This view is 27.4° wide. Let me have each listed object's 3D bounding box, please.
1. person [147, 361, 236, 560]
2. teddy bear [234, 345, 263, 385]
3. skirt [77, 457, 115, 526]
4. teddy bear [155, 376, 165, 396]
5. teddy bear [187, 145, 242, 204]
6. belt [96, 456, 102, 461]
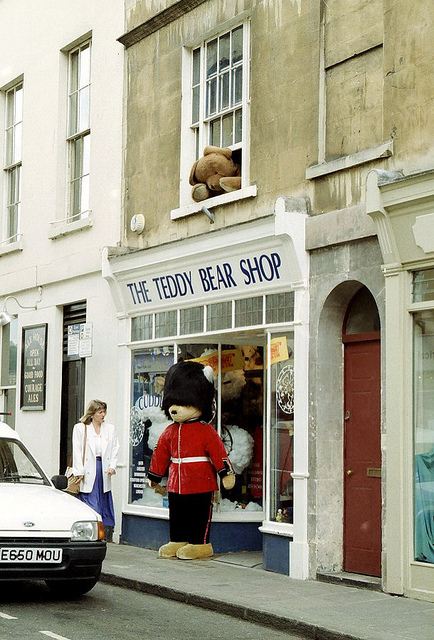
[{"bbox_3d":[-0.242,1.444,9.277,0.763,2.046,0.441,-1,-8,4],"label":"person"},{"bbox_3d":[0.361,0.427,10.118,0.329,0.288,0.092,-7,-10,35],"label":"teddy bear"},{"bbox_3d":[-1.314,1.902,9.804,0.457,0.756,0.322,4,-9,-32],"label":"skirt"},{"bbox_3d":[-0.677,0.788,10.483,0.080,0.301,0.191,5,-5,-27],"label":"teddy bear"},{"bbox_3d":[-0.007,-1.691,9.945,0.354,0.659,0.881,6,-11,-38],"label":"teddy bear"},{"bbox_3d":[-1.310,1.522,9.774,0.043,0.051,0.011,-7,17,-20],"label":"belt"}]
